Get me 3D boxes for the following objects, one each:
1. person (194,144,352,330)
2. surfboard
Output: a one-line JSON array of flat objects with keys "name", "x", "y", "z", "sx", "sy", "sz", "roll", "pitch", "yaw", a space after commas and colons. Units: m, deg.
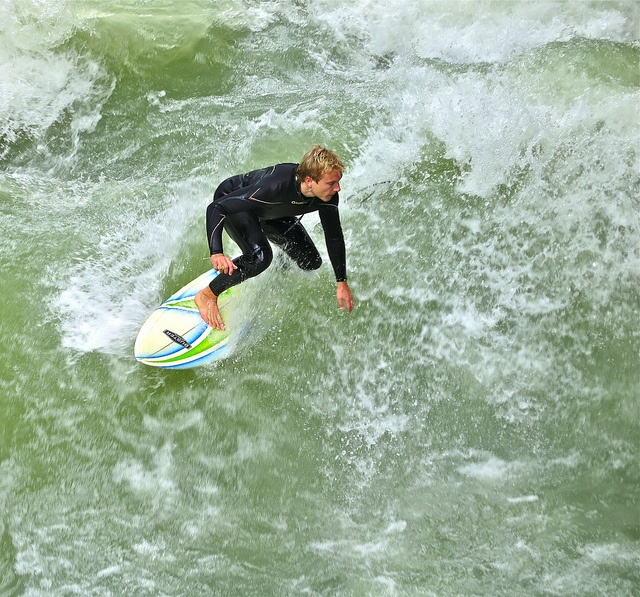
[{"name": "person", "x": -0.456, "y": -0.512, "z": 9.273, "sx": 1.068, "sy": 1.414, "sz": 1.252, "roll": -26, "pitch": 68, "yaw": -42}, {"name": "surfboard", "x": -1.244, "y": 0.240, "z": 9.190, "sx": 0.655, "sy": 0.351, "sz": 1.347, "roll": 44, "pitch": 67, "yaw": 7}]
